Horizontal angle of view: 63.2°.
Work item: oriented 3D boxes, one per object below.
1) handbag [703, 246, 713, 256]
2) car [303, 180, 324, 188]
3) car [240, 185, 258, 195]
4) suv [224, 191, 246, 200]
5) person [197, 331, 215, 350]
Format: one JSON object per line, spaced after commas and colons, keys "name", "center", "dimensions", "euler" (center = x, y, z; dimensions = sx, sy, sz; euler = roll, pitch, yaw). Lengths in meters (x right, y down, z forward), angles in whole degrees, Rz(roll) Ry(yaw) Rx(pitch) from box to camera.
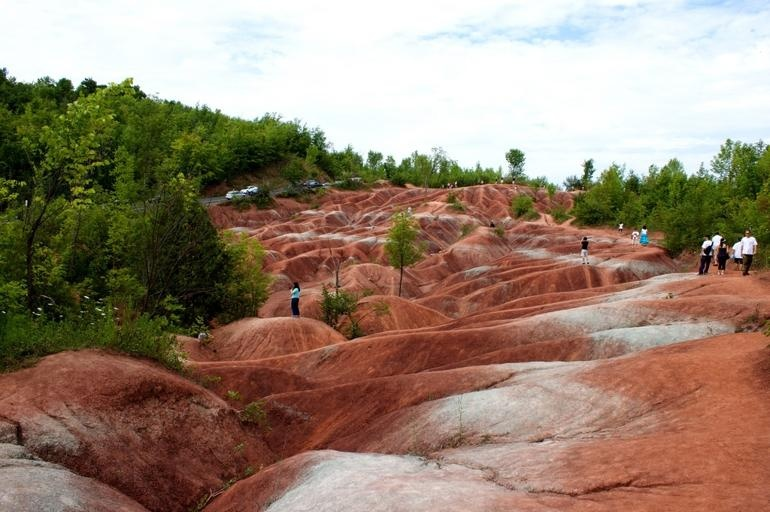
{"name": "handbag", "center": [16.075, -0.294, 31.088], "dimensions": [0.383, 0.519, 0.286], "euler": [10, 16, 37]}
{"name": "car", "center": [-11.156, -11.148, 97.002], "dimensions": [2.179, 1.050, 4.151], "euler": [-9, 4, 16]}
{"name": "car", "center": [-18.937, -9.161, 86.818], "dimensions": [1.444, 1.080, 3.054], "euler": [-7, 18, -22]}
{"name": "suv", "center": [-20.206, -8.147, 83.395], "dimensions": [2.068, 0.742, 1.986], "euler": [-1, 9, -7]}
{"name": "person", "center": [-8.842, 4.191, 30.967], "dimensions": [0.793, 0.661, 0.933], "euler": [-2, 4, -7]}
